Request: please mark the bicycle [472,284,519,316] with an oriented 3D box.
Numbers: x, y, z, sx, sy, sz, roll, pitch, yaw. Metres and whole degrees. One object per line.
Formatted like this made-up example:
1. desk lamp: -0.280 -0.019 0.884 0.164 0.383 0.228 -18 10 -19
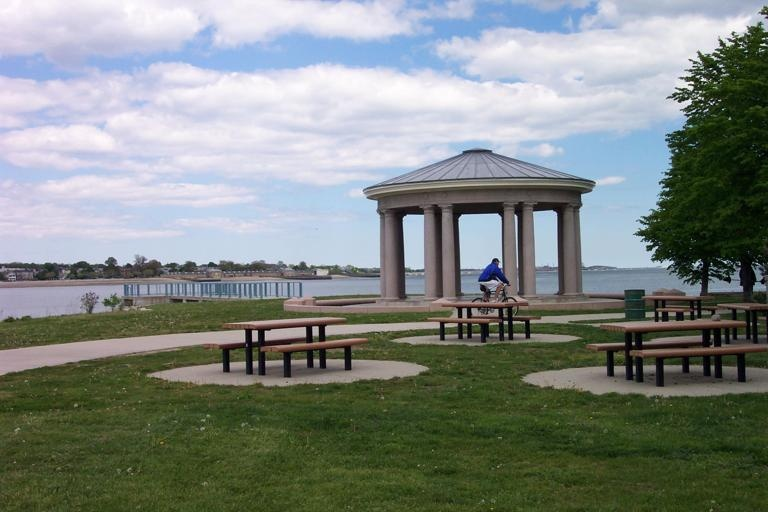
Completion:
1. bicycle: 3.860 1.605 29.347 2.302 1.102 1.029 -1 0 14
